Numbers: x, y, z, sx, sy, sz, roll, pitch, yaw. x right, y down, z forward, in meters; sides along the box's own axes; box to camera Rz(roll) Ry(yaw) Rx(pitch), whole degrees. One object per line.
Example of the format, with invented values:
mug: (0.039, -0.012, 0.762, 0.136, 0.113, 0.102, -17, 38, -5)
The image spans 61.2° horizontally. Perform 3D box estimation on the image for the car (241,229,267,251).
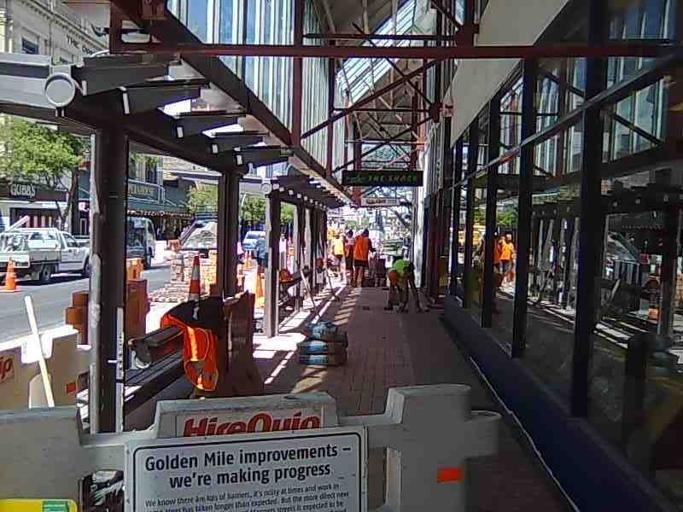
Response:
car: (-5.584, -0.943, 35.541, 1.320, 1.447, 2.553, 0, 3, 4)

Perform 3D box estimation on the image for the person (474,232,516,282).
person: (2.059, 0.022, 7.739, 0.333, 0.349, 1.081, 22, 8, 12)

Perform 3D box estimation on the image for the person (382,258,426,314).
person: (1.726, 0.891, 16.038, 0.454, 0.949, 1.228, -10, -33, -4)

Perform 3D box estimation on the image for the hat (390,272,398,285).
hat: (1.266, 0.538, 14.050, 0.195, 0.353, 0.407, 1, 4, 4)

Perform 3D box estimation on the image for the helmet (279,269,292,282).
helmet: (-1.189, 0.435, 12.290, 0.212, 0.292, 0.214, 2, 4, -2)
